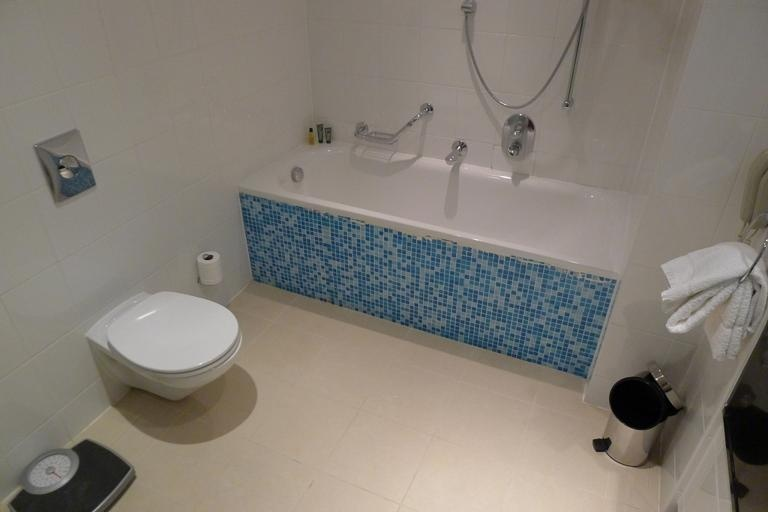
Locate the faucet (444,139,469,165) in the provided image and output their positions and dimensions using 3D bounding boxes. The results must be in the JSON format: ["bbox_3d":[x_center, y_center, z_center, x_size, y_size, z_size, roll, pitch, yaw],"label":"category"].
[{"bbox_3d":[0.512,-0.724,3.636,0.104,0.183,0.086,26,37,11],"label":"faucet"}]

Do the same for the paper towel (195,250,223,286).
[{"bbox_3d":[-1.100,0.074,3.231,0.124,0.149,0.128,22,44,27],"label":"paper towel"}]

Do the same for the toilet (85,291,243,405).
[{"bbox_3d":[-1.171,0.535,2.876,0.736,0.445,0.532,15,38,11],"label":"toilet"}]

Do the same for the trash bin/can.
[{"bbox_3d":[1.283,0.810,2.639,0.336,0.478,0.287,-25,40,-30],"label":"trash bin/can"}]
